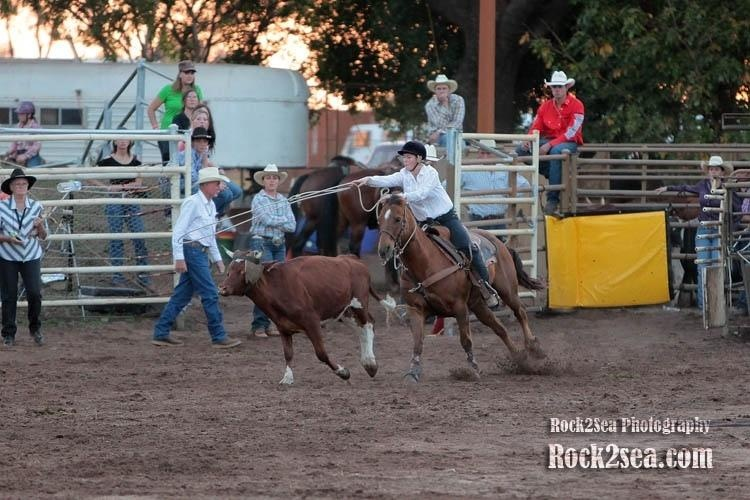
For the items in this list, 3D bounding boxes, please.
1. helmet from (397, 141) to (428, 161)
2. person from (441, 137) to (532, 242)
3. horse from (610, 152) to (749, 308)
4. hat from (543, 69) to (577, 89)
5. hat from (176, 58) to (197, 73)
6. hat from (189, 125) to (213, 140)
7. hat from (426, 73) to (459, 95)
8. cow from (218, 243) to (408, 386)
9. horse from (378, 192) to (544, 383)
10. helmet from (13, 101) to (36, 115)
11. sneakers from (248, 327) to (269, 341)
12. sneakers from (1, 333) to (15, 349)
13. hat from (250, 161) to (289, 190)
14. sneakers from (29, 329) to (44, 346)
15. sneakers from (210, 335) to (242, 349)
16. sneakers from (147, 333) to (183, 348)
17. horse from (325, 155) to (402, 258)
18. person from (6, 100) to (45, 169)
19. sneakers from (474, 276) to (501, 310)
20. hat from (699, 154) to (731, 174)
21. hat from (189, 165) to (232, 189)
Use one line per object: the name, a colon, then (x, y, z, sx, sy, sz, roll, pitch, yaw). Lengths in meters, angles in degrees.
helmet: (0.570, -1.457, 20.749, 0.390, 0.172, 0.259, 7, -7, -21)
person: (1.940, -0.679, 24.356, 1.607, 2.259, 0.747, -2, -10, -11)
horse: (5.424, -0.231, 24.507, 3.154, 3.220, 1.143, -1, -14, 16)
hat: (3.360, -3.008, 25.047, 0.318, 0.294, 0.527, 7, 16, 24)
hat: (-3.274, -3.150, 23.957, 0.361, 0.210, 0.439, -1, -4, -29)
hat: (-2.884, -1.901, 22.972, 0.311, 0.103, 0.318, 1, -5, -14)
hat: (1.240, -3.084, 25.294, 0.590, 0.216, 0.605, 0, -11, 5)
cow: (-0.930, 1.010, 20.571, 3.585, 1.879, 0.841, -1, -5, -45)
horse: (1.238, 0.485, 20.959, 3.041, 2.820, 1.255, -11, 19, -37)
helmet: (-6.565, -2.603, 26.146, 0.296, 0.198, 0.398, 8, 4, 42)
sneakers: (-1.912, 1.386, 22.987, 0.380, 0.138, 0.130, 0, 6, 10)
sneakers: (-5.732, 1.422, 21.668, 0.219, 0.233, 0.595, 1, -5, -22)
hat: (-1.992, -1.376, 25.781, 0.868, 0.326, 0.925, 0, -8, -5)
sneakers: (-5.303, 1.375, 21.832, 0.122, 0.137, 0.341, -18, 33, -27)
sneakers: (-2.387, 1.481, 22.237, 0.475, 0.169, 0.170, -2, 2, -1)
sneakers: (-3.351, 1.448, 22.242, 0.510, 0.195, 0.188, -2, 7, -13)
horse: (-0.199, -0.959, 27.054, 0.731, 1.839, 2.709, 3, 0, 19)
person: (-6.546, -2.061, 25.825, 0.700, 1.158, 2.275, -3, 15, -13)
sneakers: (1.749, 0.647, 21.088, 0.265, 0.506, 0.229, -24, 0, -18)
hat: (6.063, -1.478, 24.596, 0.587, 0.204, 0.585, 1, -12, 16)
hat: (-2.611, -1.073, 21.736, 0.531, 0.178, 0.423, -6, -1, 7)
